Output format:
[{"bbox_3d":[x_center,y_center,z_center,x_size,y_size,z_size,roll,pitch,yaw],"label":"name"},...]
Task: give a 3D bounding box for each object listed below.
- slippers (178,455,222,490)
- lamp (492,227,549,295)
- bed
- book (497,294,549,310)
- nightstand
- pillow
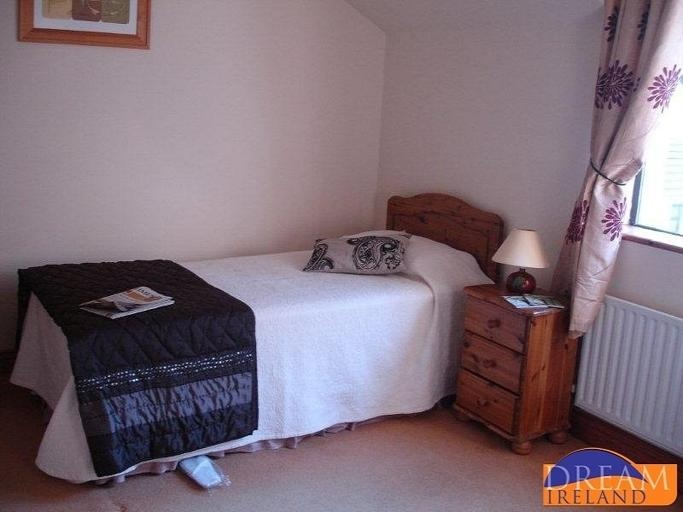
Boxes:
[{"bbox_3d":[-0.678,1.024,2.571,0.113,0.057,0.192,-13,28,-42],"label":"slippers"},{"bbox_3d":[1.010,0.060,2.978,0.305,0.317,0.286,7,-4,-14],"label":"lamp"},{"bbox_3d":[-0.401,0.422,3.301,2.588,1.195,1.476,-8,21,-24],"label":"bed"},{"bbox_3d":[1.019,0.246,2.844,0.264,0.016,0.152,-1,19,-11],"label":"book"},{"bbox_3d":[0.999,0.641,3.075,0.564,0.743,0.641,3,5,-42],"label":"nightstand"},{"bbox_3d":[0.084,-0.004,3.419,0.533,0.125,0.308,-8,36,21],"label":"pillow"}]
